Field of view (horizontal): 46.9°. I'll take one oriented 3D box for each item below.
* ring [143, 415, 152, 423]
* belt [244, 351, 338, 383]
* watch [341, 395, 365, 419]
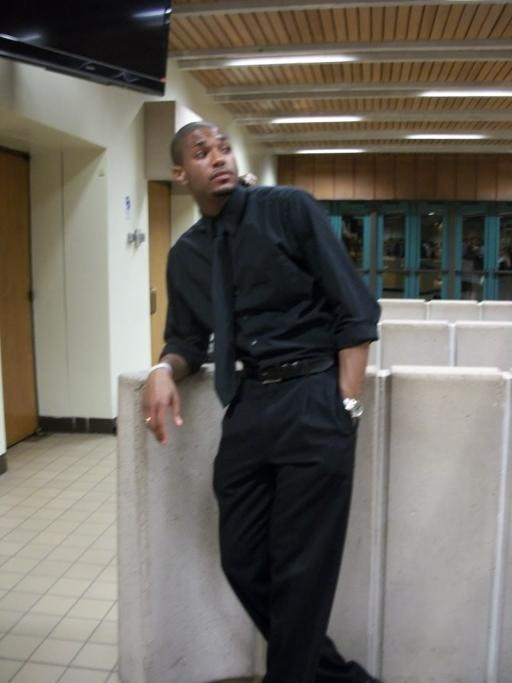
[{"bbox_3d":[-0.252,0.183,1.352,0.013,0.006,0.019,1,-20,3],"label":"ring"},{"bbox_3d":[0.086,0.061,1.245,0.167,0.050,0.066,-5,5,8],"label":"belt"},{"bbox_3d":[0.197,0.137,1.191,0.042,0.041,0.035,-2,10,6],"label":"watch"}]
